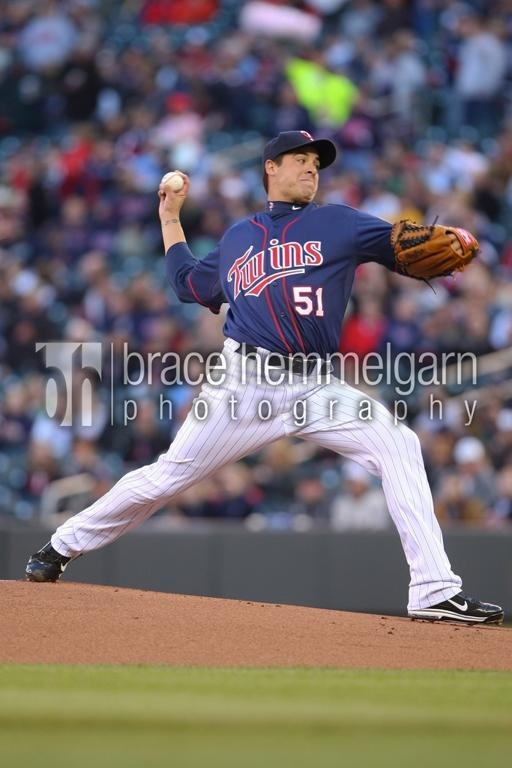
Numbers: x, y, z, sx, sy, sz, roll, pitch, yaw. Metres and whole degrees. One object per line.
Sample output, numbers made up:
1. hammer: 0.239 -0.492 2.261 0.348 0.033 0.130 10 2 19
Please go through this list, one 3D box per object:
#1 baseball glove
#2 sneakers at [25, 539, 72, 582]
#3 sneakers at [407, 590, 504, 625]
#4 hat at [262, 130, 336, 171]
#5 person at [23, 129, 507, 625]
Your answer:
1. baseball glove: 0.541 -0.410 3.111 0.274 0.181 0.162 13 81 5
2. sneakers: -0.688 0.599 3.421 0.097 0.169 0.087 36 103 -4
3. sneakers: 0.623 0.687 3.147 0.320 0.099 0.114 -1 89 6
4. hat: 0.146 -0.788 3.402 0.208 0.137 0.091 -7 80 36
5. person: 0.205 -0.069 3.263 1.331 0.578 1.544 7 80 3
